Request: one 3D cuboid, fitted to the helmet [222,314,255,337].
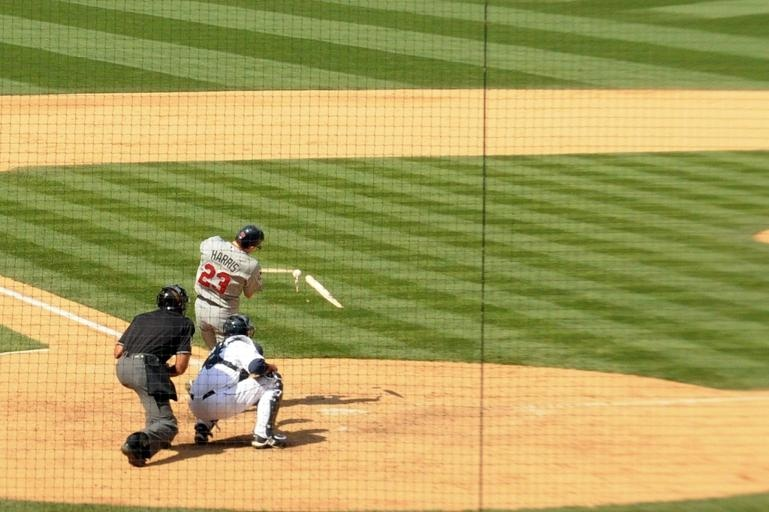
[{"bbox_3d":[-2.728,1.267,27.407,0.664,0.387,0.473,-6,11,-33],"label":"helmet"}]

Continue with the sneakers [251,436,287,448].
[{"bbox_3d":[-2.112,3.441,26.972,0.670,0.194,0.219,-3,29,-6],"label":"sneakers"}]

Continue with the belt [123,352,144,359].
[{"bbox_3d":[-4.656,1.826,26.852,0.359,0.094,0.038,6,2,4],"label":"belt"}]
